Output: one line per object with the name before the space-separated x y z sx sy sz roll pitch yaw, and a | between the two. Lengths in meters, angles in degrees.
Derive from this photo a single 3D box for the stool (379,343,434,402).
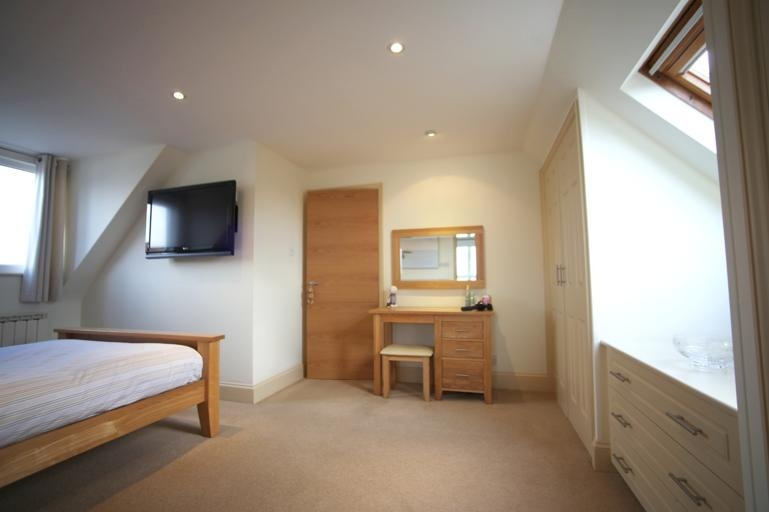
stool | 0.238 1.199 5.189 0.500 0.504 0.514 -1 -14 9

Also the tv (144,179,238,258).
tv | -2.047 -0.384 5.256 1.111 0.812 0.230 4 13 19

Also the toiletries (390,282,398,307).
toiletries | 0.104 0.443 5.692 0.098 0.227 0.257 0 12 0

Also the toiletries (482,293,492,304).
toiletries | 1.093 0.449 5.304 0.069 0.137 0.092 -21 11 -22
